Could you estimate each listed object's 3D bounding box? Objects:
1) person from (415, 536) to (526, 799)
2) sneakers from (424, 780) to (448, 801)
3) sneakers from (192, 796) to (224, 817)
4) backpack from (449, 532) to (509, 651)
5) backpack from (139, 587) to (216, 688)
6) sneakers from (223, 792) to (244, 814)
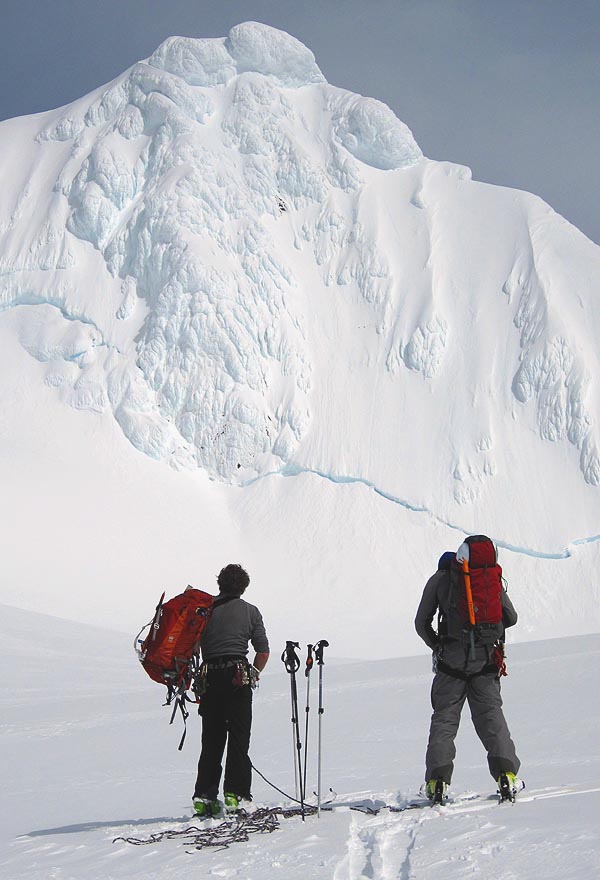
[{"bbox_3d":[1.293,1.791,10.348,0.711,2.002,0.609,-3,-3,5],"label":"person"},{"bbox_3d":[1.052,2.712,10.148,0.128,0.194,0.067,3,-8,2],"label":"sneakers"},{"bbox_3d":[-0.727,2.903,10.356,0.208,0.156,0.120,-1,2,-30],"label":"sneakers"},{"bbox_3d":[1.440,1.145,10.462,0.364,0.750,0.732,-2,15,-5],"label":"backpack"},{"bbox_3d":[-1.024,1.595,10.789,0.401,0.772,0.556,16,9,-6],"label":"backpack"},{"bbox_3d":[-0.525,2.876,10.402,0.158,0.131,0.320,-3,-2,-4],"label":"sneakers"}]
